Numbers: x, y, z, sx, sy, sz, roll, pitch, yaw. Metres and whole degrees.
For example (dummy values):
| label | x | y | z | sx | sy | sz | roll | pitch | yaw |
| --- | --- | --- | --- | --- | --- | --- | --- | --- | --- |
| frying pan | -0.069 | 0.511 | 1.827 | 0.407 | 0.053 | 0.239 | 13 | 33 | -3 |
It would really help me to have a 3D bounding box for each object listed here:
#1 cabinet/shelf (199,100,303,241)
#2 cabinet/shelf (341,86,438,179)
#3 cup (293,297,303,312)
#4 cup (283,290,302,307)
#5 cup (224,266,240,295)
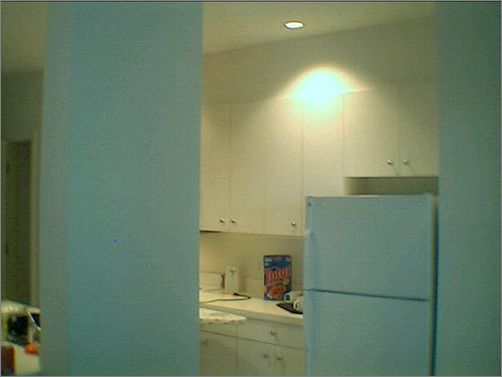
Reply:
| label | x | y | z | sx | sy | sz | roll | pitch | yaw |
| --- | --- | --- | --- | --- | --- | --- | --- | --- | --- |
| cabinet/shelf | 0.018 | -0.119 | 2.972 | 0.823 | 0.915 | 0.329 | -2 | -3 | 28 |
| cabinet/shelf | 0.670 | -0.275 | 2.690 | 0.433 | 0.406 | 0.212 | -2 | 4 | -5 |
| cup | 0.255 | 0.609 | 2.742 | 0.073 | 0.068 | 0.041 | 6 | -5 | -37 |
| cup | 0.240 | 0.612 | 2.897 | 0.064 | 0.059 | 0.087 | 12 | -16 | -41 |
| cup | -0.122 | 0.569 | 3.212 | 0.095 | 0.166 | 0.047 | -3 | -7 | 31 |
